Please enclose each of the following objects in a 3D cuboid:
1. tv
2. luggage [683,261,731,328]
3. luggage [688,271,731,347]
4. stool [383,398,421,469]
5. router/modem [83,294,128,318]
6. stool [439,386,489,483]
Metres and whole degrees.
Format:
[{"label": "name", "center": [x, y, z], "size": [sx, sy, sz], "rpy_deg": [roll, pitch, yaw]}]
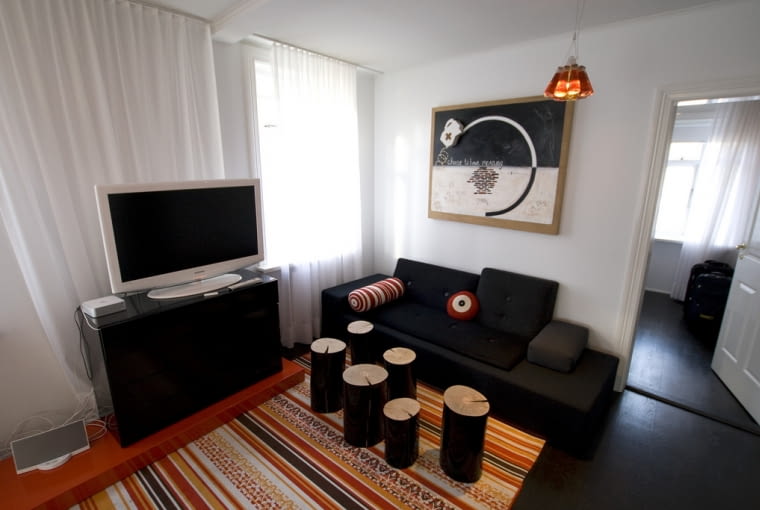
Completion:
[{"label": "tv", "center": [-1.674, -0.125, 3.853], "size": [0.956, 0.684, 0.263], "rpy_deg": [-13, 19, -43]}, {"label": "luggage", "center": [3.807, 0.455, 5.524], "size": [0.438, 0.667, 0.378], "rpy_deg": [7, 26, 21]}, {"label": "luggage", "center": [3.669, 0.568, 5.332], "size": [0.334, 0.625, 0.657], "rpy_deg": [8, 18, 19]}, {"label": "stool", "center": [0.162, 1.393, 3.702], "size": [0.279, 0.495, 0.215], "rpy_deg": [-4, 18, -17]}, {"label": "router/modem", "center": [-2.113, 0.401, 3.672], "size": [0.237, 0.105, 0.270], "rpy_deg": [17, 23, 42]}, {"label": "stool", "center": [0.638, 1.384, 3.672], "size": [0.344, 0.638, 0.326], "rpy_deg": [7, 18, 14]}]
